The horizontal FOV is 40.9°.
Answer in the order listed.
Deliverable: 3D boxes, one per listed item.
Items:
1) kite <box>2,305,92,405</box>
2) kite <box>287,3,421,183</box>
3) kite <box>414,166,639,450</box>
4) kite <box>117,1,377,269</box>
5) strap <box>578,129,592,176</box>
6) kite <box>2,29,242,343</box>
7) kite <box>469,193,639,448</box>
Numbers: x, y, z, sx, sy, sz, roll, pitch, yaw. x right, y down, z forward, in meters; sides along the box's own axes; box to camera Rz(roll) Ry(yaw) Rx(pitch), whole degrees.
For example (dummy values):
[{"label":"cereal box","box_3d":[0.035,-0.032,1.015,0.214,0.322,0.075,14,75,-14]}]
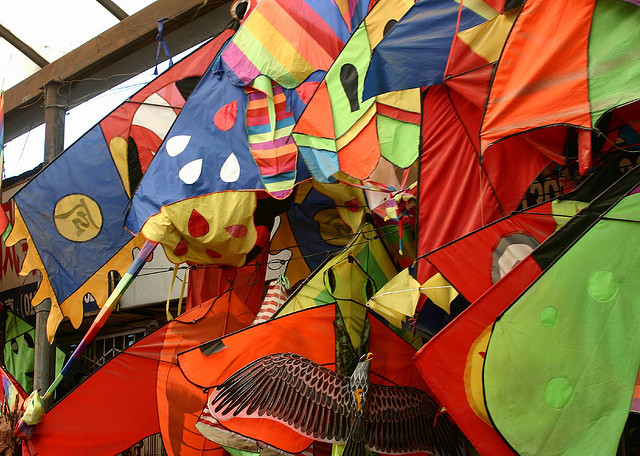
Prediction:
[{"label":"kite","box_3d":[-4.351,1.991,13.445,0.762,1.446,0.122,-52,-22,1]},{"label":"kite","box_3d":[0.448,-1.490,9.937,1.779,2.691,0.305,5,5,-1]},{"label":"kite","box_3d":[2.039,0.744,8.290,2.661,1.277,0.049,-47,3,-3]},{"label":"kite","box_3d":[-0.880,-1.082,11.232,2.014,4.290,0.795,23,-2,3]},{"label":"strap","box_3d":[2.591,-0.772,8.434,0.121,0.496,0.054,-1,5,25]},{"label":"kite","box_3d":[-2.831,-0.704,12.593,3.333,3.694,1.354,-30,-45,28]},{"label":"kite","box_3d":[2.233,0.934,8.051,2.189,1.151,0.346,-52,-19,18]}]
